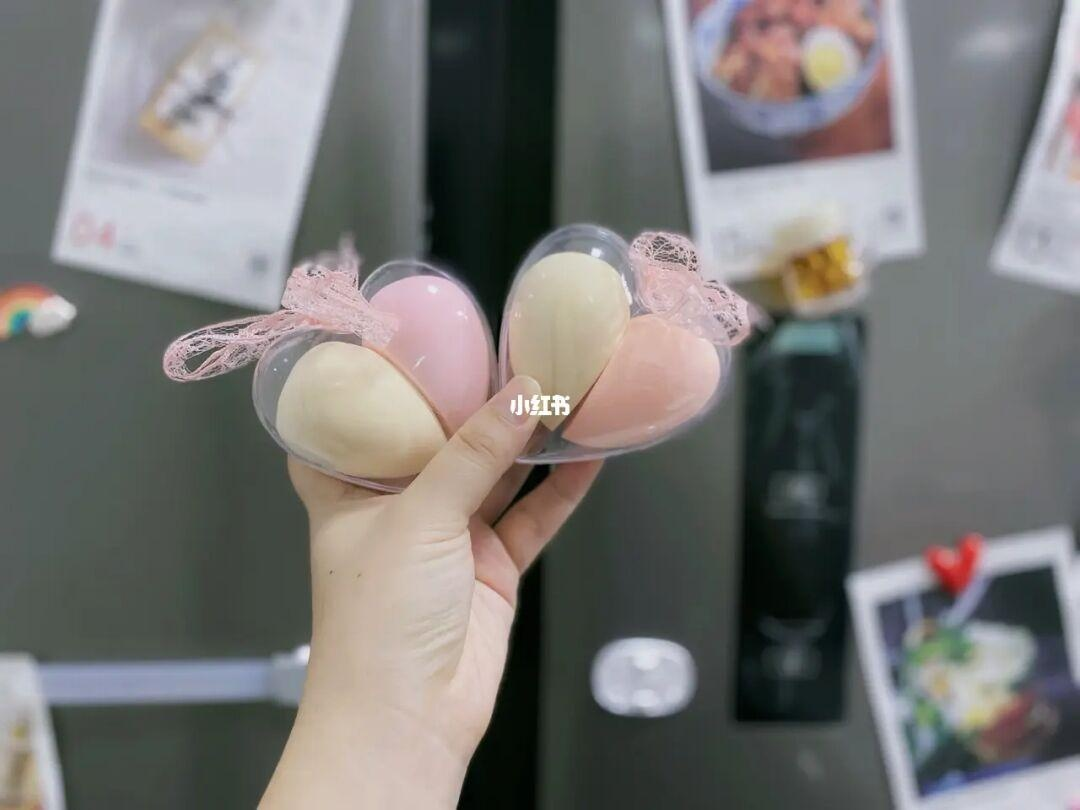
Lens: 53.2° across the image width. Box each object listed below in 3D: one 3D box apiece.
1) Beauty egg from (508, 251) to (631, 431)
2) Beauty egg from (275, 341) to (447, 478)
[{"bbox_3d":[0.025,-0.079,1.109,0.139,0.116,0.166,0,98,6],"label":"Beauty egg"},{"bbox_3d":[-0.179,0.005,1.112,0.144,0.084,0.125,29,100,-8],"label":"Beauty egg"}]
